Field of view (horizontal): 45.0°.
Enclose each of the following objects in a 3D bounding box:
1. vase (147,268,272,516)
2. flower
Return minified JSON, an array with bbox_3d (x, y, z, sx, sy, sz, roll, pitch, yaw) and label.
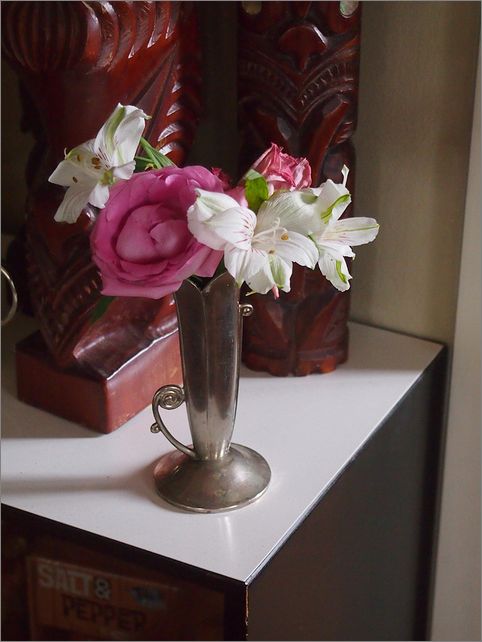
[{"bbox_3d":[-0.026,0.051,0.468,0.101,0.205,0.097,2,16,3],"label":"vase"},{"bbox_3d":[-0.024,-0.074,0.364,0.219,0.113,0.142,4,16,9],"label":"flower"}]
